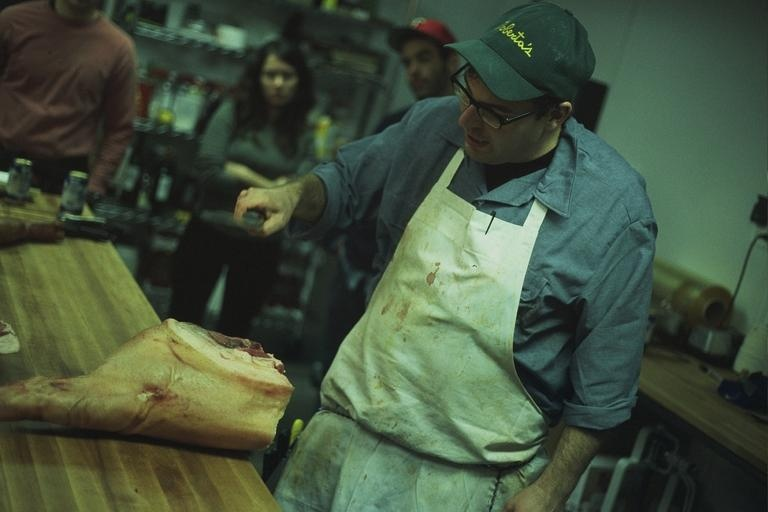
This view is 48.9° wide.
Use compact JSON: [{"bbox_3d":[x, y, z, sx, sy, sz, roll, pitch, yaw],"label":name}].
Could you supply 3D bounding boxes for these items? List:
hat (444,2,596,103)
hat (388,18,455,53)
[{"bbox_3d":[0.403,-0.567,2.409,0.361,0.217,0.264,12,36,-40],"label":"hat"},{"bbox_3d":[0.113,-0.695,2.600,0.142,0.052,0.105,11,13,-12],"label":"hat"}]
